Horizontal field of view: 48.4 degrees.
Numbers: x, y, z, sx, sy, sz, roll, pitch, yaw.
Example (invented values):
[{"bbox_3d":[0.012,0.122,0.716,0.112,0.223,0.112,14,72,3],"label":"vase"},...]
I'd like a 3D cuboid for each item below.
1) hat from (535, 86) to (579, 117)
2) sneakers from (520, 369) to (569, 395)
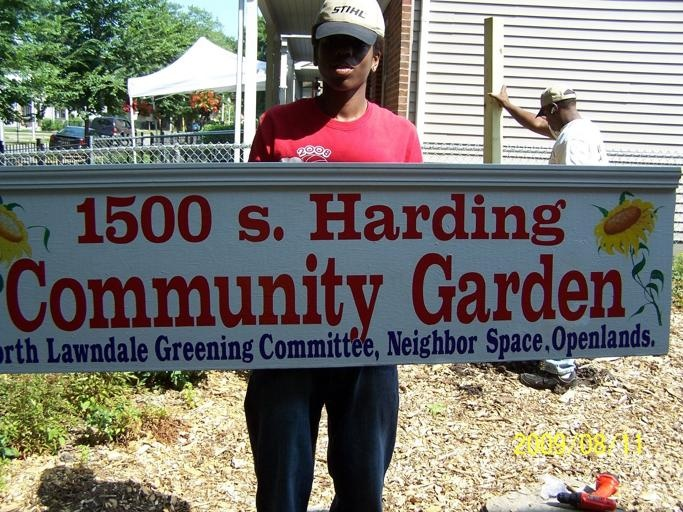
[{"bbox_3d":[1.795,-1.305,6.509,0.221,0.193,0.318,-12,5,-27],"label":"hat"},{"bbox_3d":[1.719,1.066,6.561,0.398,0.205,0.154,13,13,14],"label":"sneakers"}]
